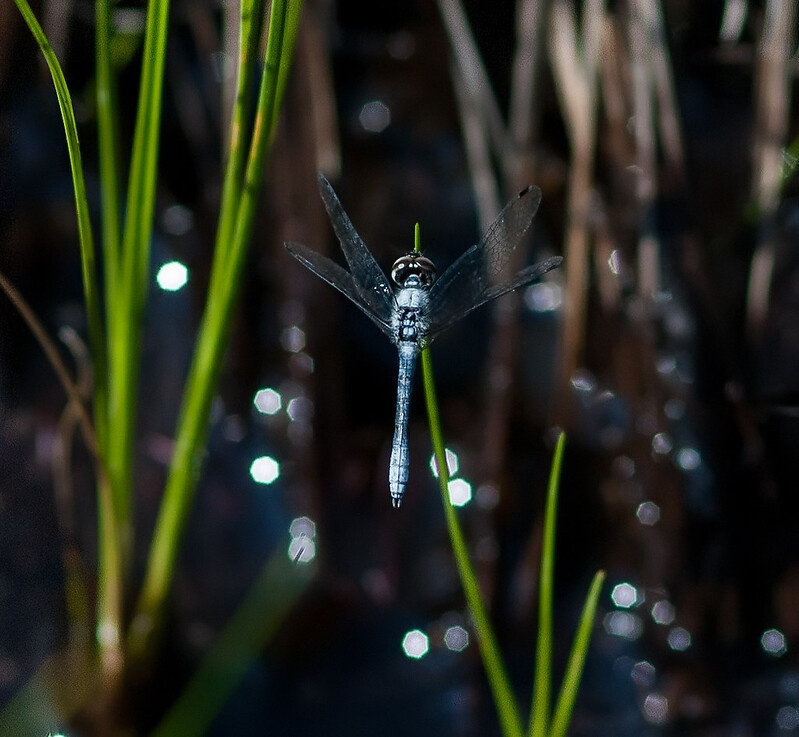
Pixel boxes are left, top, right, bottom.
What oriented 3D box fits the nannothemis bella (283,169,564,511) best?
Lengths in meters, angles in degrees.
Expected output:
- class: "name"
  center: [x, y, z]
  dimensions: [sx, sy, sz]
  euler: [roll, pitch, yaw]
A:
- class: "nannothemis bella"
  center: [0.017, -0.068, 0.892]
  dimensions: [0.196, 0.317, 0.121]
  euler: [7, -24, -6]
